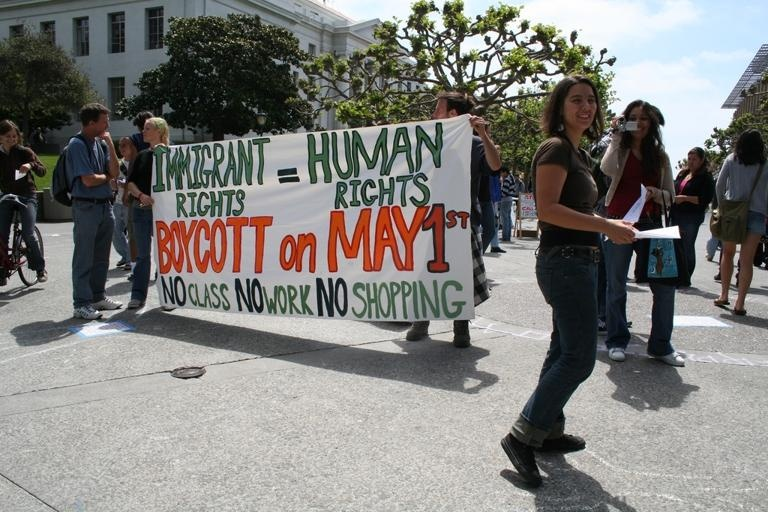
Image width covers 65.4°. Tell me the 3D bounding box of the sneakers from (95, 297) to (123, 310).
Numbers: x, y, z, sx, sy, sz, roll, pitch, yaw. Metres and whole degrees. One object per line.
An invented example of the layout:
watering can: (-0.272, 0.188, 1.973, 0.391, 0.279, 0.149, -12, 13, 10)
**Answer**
sneakers: (-3.402, 0.604, 7.507, 0.370, 0.155, 0.123, -1, 4, -12)

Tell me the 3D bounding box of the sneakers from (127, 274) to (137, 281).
sneakers: (-3.584, 0.310, 8.530, 0.143, 0.113, 0.257, -1, -4, -20)

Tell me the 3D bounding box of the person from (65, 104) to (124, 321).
person: (-3.489, -0.536, 7.234, 0.573, 2.510, 1.146, -3, 12, -24)

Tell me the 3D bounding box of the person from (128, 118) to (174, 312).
person: (-3.041, -0.571, 7.740, 0.559, 2.388, 0.910, -2, 12, -19)

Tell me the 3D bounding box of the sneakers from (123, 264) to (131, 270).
sneakers: (-4.448, 0.203, 10.396, 0.093, 0.109, 0.284, -2, -3, -38)

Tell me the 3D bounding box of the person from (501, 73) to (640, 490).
person: (1.232, 0.118, 4.041, 0.640, 2.628, 0.998, 6, 12, 21)

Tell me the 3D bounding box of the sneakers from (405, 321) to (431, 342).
sneakers: (0.367, 0.819, 6.484, 0.289, 0.269, 0.150, 2, 5, -10)

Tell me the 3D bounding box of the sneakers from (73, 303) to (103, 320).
sneakers: (-3.511, 0.671, 7.092, 0.468, 0.208, 0.157, -1, 1, 17)

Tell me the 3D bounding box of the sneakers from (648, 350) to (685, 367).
sneakers: (2.820, 1.019, 5.970, 0.380, 0.146, 0.139, 2, 7, 29)

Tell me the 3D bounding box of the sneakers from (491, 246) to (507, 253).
sneakers: (2.816, -0.129, 14.463, 0.428, 0.162, 0.136, -3, 12, -7)

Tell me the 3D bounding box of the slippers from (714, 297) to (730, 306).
slippers: (4.775, 0.647, 8.491, 0.093, 0.092, 0.232, 1, 4, -5)

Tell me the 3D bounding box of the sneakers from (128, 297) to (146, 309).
sneakers: (-3.114, 0.601, 7.524, 0.096, 0.094, 0.263, 1, -4, -4)

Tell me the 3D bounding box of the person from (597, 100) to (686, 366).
person: (2.513, -0.249, 5.988, 0.877, 2.615, 0.861, 3, -3, 8)
